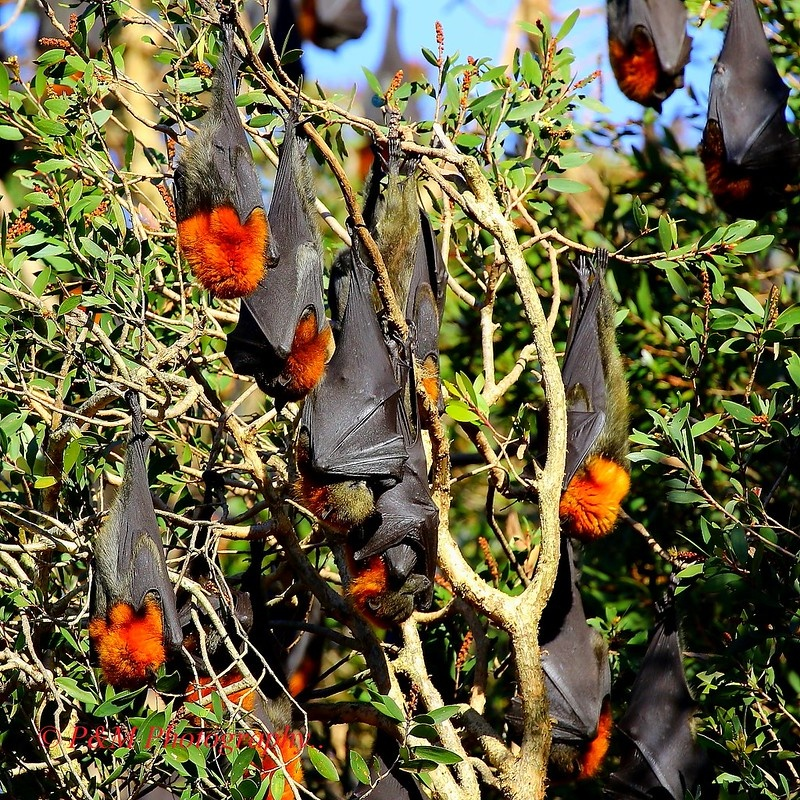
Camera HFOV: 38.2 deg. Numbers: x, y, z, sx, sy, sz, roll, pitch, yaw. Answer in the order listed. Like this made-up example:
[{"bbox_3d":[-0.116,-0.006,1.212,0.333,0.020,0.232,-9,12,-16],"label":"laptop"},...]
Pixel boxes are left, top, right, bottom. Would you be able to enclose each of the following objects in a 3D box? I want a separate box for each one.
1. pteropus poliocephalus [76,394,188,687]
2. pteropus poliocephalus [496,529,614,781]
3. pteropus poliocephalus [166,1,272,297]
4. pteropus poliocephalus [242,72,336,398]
[{"bbox_3d":[-0.892,0.501,3.865,0.255,0.287,1.061,-2,69,-15],"label":"pteropus poliocephalus"},{"bbox_3d":[0.644,1.148,4.632,0.312,0.445,1.170,-15,60,27],"label":"pteropus poliocephalus"},{"bbox_3d":[-0.632,-0.864,4.014,0.257,0.307,0.947,6,67,-26],"label":"pteropus poliocephalus"},{"bbox_3d":[-0.365,-0.543,4.213,0.318,0.302,0.990,13,65,-31],"label":"pteropus poliocephalus"}]
